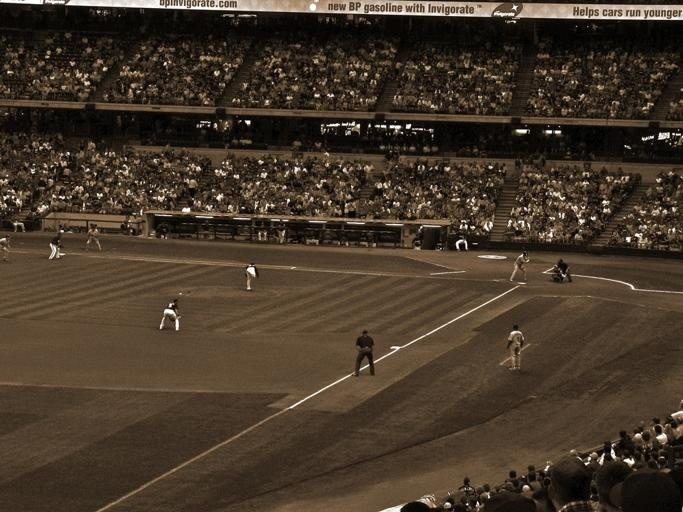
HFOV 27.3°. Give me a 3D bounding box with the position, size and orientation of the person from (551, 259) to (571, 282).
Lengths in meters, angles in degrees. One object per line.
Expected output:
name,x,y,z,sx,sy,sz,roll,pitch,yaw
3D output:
person,14.532,1.066,92.707,1.241,1.601,0.759,3,-20,-5
